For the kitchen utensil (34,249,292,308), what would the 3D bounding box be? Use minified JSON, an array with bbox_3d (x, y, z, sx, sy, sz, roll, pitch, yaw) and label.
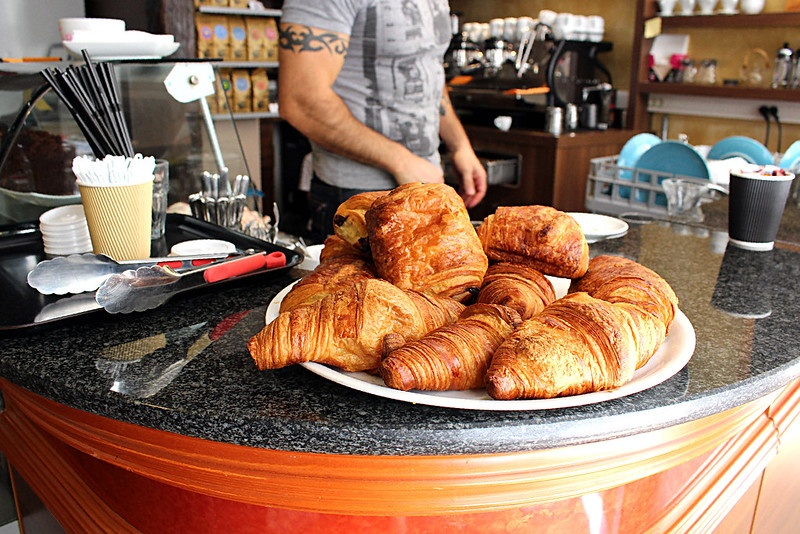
[{"bbox_3d":[-0.388,-0.012,1.001,0.130,0.073,0.431,25,24,38],"label":"kitchen utensil"}]
